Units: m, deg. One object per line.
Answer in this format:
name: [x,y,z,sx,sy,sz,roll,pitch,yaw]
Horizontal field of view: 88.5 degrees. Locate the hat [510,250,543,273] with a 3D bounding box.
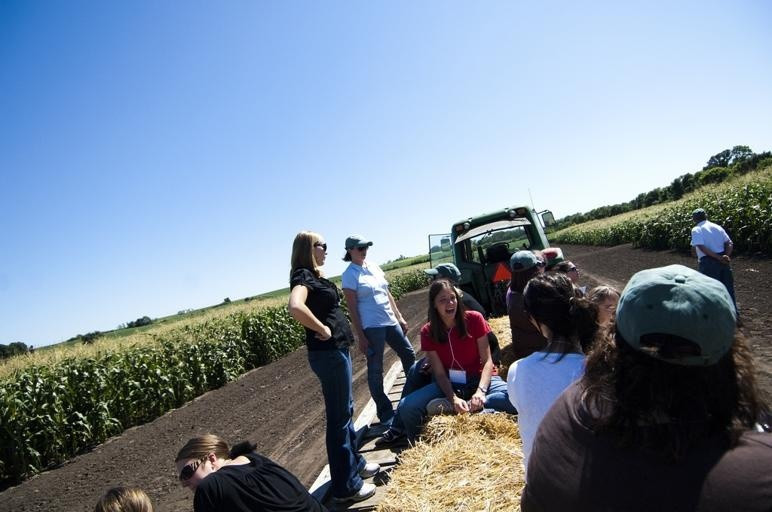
hat: [1.758,0.034,5.074,0.250,0.195,0.399,-3,14,35]

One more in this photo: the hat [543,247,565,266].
hat: [3.149,0.023,7.683,0.314,0.270,0.555,-27,-3,12]

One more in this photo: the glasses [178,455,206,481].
glasses: [-1.349,1.530,2.796,0.134,0.046,0.142,-36,2,13]

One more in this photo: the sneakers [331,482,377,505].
sneakers: [-0.317,2.375,3.888,0.410,0.229,0.181,-4,1,-16]

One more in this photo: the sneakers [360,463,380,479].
sneakers: [-0.174,2.318,4.268,0.249,0.130,0.094,-9,12,-31]

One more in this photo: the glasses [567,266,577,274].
glasses: [2.486,0.203,5.459,0.045,0.049,0.070,-21,-26,-29]

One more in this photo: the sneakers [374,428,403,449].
sneakers: [0.037,2.211,4.751,0.396,0.184,0.161,3,0,-10]

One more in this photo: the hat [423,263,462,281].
hat: [0.977,0.295,6.873,0.471,0.311,0.361,6,-10,-1]

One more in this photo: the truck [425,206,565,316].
truck: [2.581,0.132,9.246,2.083,2.196,3.427,-9,25,18]

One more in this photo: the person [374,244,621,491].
person: [1.061,0.657,3.187,0.951,1.415,1.981,-7,1,31]

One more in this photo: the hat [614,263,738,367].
hat: [1.180,0.200,1.661,0.320,0.283,0.490,1,23,25]
